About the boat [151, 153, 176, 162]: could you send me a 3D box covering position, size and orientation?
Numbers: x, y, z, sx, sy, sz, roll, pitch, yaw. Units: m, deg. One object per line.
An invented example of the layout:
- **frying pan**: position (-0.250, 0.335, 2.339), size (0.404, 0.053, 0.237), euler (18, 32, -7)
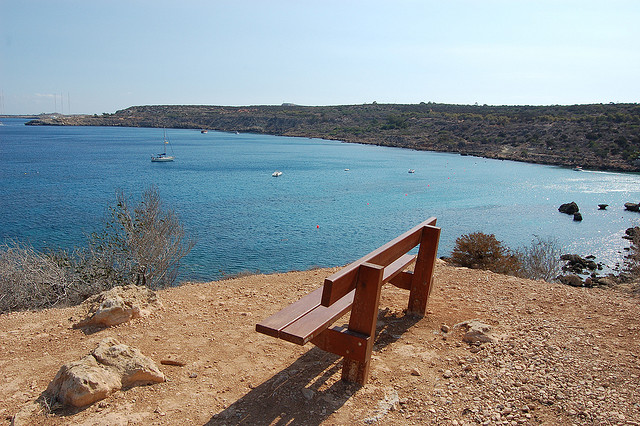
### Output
- **boat**: position (-26.740, -9.243, 71.517), size (3.481, 1.522, 3.969), euler (-2, 4, -27)

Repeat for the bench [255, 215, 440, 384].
- **bench**: position (0.581, 1.397, 6.851), size (1.201, 2.166, 3.251), euler (4, 6, 40)
